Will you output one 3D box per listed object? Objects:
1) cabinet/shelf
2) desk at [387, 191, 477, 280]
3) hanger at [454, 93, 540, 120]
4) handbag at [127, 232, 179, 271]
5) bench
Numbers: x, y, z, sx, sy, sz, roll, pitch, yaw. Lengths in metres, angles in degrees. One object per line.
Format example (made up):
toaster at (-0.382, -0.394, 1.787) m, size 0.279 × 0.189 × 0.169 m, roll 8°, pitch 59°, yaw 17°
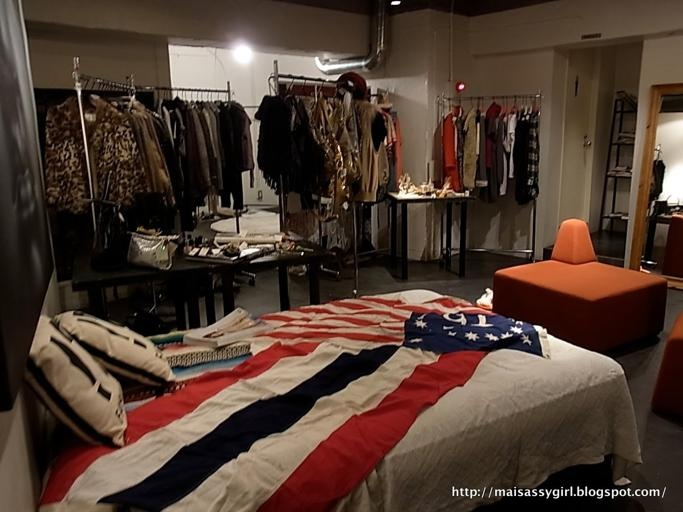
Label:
cabinet/shelf at (4.251, -1.427, 7.401) m, size 0.425 × 2.145 × 1.322 m, roll 3°, pitch 14°, yaw 29°
desk at (1.078, -0.500, 6.392) m, size 1.004 × 1.350 × 1.219 m, roll -3°, pitch 12°, yaw -11°
hanger at (2.124, -2.099, 6.600) m, size 1.160 × 0.328 × 0.545 m, roll 3°, pitch 15°, yaw 29°
handbag at (-1.342, -0.040, 3.374) m, size 0.338 × 0.237 × 0.331 m, roll -7°, pitch 13°, yaw -13°
bench at (1.992, 0.282, 4.165) m, size 1.112 × 1.168 × 1.192 m, roll -5°, pitch 11°, yaw -29°
